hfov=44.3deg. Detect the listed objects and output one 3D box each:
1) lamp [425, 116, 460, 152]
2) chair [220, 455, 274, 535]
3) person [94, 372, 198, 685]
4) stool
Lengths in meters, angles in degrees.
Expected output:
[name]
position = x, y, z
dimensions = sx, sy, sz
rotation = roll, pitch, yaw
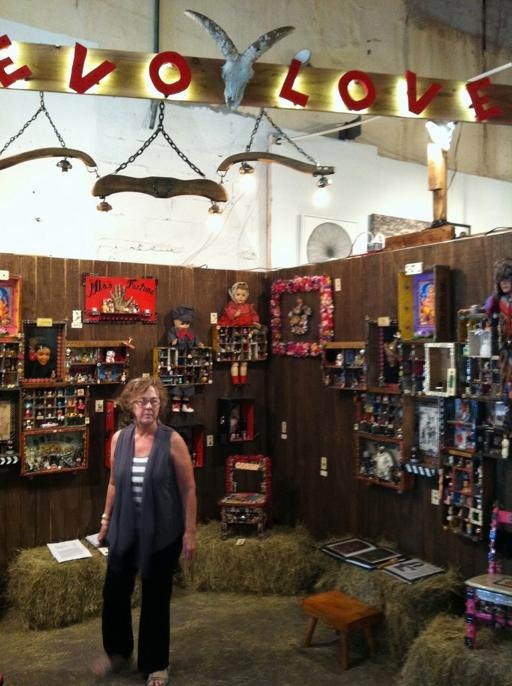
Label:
[lamp]
position = 1.308, -1.488, 4.499
dimensions = 0.191, 0.152, 0.223
rotation = 0, -1, 9
[chair]
position = -0.132, 1.401, 5.879
dimensions = 0.605, 0.717, 0.573
rotation = 6, -4, -12
[person]
position = -0.610, 1.066, 3.467
dimensions = 0.571, 1.747, 0.416
rotation = 0, -2, 12
[stool]
position = 0.563, 1.916, 4.039
dimensions = 0.346, 0.360, 0.510
rotation = 6, -7, -27
